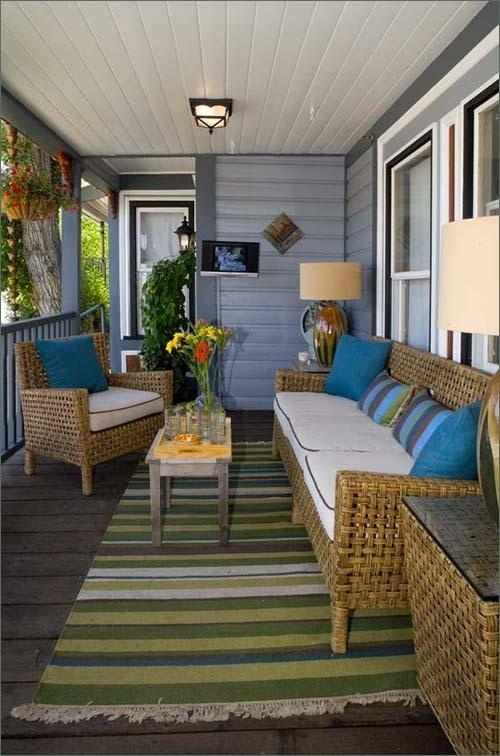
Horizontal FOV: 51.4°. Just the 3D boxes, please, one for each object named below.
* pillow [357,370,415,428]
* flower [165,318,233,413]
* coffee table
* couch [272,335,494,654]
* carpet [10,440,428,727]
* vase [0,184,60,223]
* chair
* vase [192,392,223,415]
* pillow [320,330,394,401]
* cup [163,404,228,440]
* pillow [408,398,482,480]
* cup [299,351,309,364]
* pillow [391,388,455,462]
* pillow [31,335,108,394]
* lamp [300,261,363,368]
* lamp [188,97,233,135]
[{"bbox_3d":[0.744,0.025,2.829,0.182,0.200,0.496,-7,9,1],"label":"pillow"},{"bbox_3d":[-0.242,-0.080,2.855,0.296,0.411,0.282,-8,34,-20],"label":"flower"},{"bbox_3d":[-0.305,0.560,2.677,0.375,0.408,0.782,-1,-1,-3],"label":"coffee table"},{"bbox_3d":[0.505,0.293,2.572,0.597,0.906,1.963,-1,10,-3],"label":"couch"},{"bbox_3d":[-0.067,0.798,1.918,1.202,0.042,1.306,-1,5,-7],"label":"carpet"},{"bbox_3d":[-1.818,-1.434,4.304,0.419,0.195,0.453,-2,5,-21],"label":"vase"},{"bbox_3d":[-1.046,0.194,3.495,0.658,0.942,0.844,4,9,26],"label":"chair"},{"bbox_3d":[-0.214,0.114,2.725,0.099,0.193,0.112,-5,8,-26],"label":"vase"},{"bbox_3d":[0.699,-0.056,3.468,0.221,0.419,0.444,-3,14,-35],"label":"pillow"},{"bbox_3d":[-0.273,0.226,2.599,0.244,0.120,0.164,2,5,-2],"label":"cup"},{"bbox_3d":[0.622,0.200,1.656,0.129,0.276,0.232,14,-7,-19],"label":"pillow"},{"bbox_3d":[0.468,-0.175,4.556,0.085,0.107,0.094,2,15,0],"label":"cup"},{"bbox_3d":[0.741,0.192,2.253,0.076,0.362,0.345,20,-30,-31],"label":"pillow"},{"bbox_3d":[-1.198,-0.086,3.542,0.201,0.410,0.463,-10,-2,30],"label":"pillow"},{"bbox_3d":[0.630,-0.465,4.141,0.472,0.845,0.498,4,3,42],"label":"lamp"},{"bbox_3d":[-0.275,-1.910,3.814,0.280,0.133,0.287,-2,-4,-1],"label":"lamp"}]
